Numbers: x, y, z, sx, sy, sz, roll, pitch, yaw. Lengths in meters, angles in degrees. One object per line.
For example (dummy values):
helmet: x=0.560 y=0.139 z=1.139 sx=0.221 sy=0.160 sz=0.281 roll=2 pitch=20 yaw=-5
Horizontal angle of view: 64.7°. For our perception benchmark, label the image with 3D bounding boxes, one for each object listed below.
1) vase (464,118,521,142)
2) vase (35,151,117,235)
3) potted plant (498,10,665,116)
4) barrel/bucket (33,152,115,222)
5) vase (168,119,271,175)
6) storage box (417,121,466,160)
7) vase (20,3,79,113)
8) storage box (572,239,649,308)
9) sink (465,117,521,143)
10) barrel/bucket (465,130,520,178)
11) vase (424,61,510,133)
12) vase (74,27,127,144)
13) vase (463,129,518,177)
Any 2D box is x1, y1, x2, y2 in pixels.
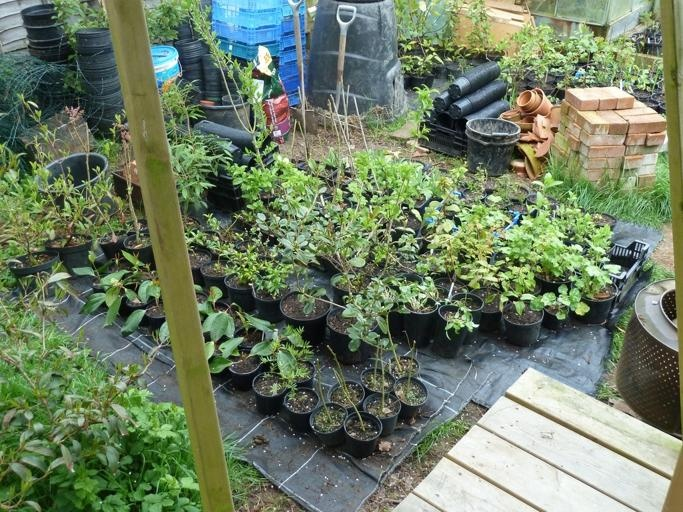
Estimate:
vase: x=1.570 y=-1.323 z=5.613 sx=0.385 sy=0.159 sz=0.404 roll=4 pitch=33 yaw=6
vase: x=-2.249 y=-0.513 z=4.554 sx=0.494 sy=0.403 sz=0.536 roll=15 pitch=45 yaw=6
potted plant: x=3.176 y=-2.514 z=6.846 sx=2.716 sy=0.782 sz=1.804 roll=-15 pitch=34 yaw=-23
barrel/bucket: x=-2.277 y=-0.575 z=4.576 sx=0.425 sy=0.344 sz=0.472 roll=20 pitch=46 yaw=14
vase: x=-1.130 y=-1.058 z=4.950 sx=0.729 sy=0.212 sz=0.514 roll=21 pitch=41 yaw=17
storage box: x=1.159 y=-1.312 z=6.087 sx=0.457 sy=0.203 sz=0.615 roll=17 pitch=34 yaw=22
vase: x=-3.349 y=-2.306 z=6.247 sx=0.464 sy=0.969 sz=0.963 roll=-13 pitch=33 yaw=-22
storage box: x=2.270 y=0.110 z=4.429 sx=0.332 sy=0.247 sz=0.568 roll=26 pitch=67 yaw=37
sink: x=1.566 y=-1.299 z=5.583 sx=0.393 sy=0.162 sz=0.412 roll=2 pitch=33 yaw=3
barrel/bucket: x=1.567 y=-1.134 z=5.697 sx=0.561 sy=0.483 sz=0.647 roll=2 pitch=28 yaw=2
vase: x=1.522 y=-1.868 z=6.204 sx=0.637 sy=0.634 sz=1.056 roll=37 pitch=57 yaw=27
vase: x=-2.752 y=-1.952 z=6.110 sx=0.423 sy=1.091 sz=0.226 roll=-9 pitch=31 yaw=-15
vase: x=1.577 y=-1.128 z=5.689 sx=0.566 sy=0.480 sz=0.629 roll=9 pitch=28 yaw=16
